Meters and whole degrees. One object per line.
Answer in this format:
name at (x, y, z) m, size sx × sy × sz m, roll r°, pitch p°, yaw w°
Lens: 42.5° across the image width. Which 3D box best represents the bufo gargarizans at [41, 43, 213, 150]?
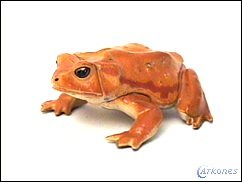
bufo gargarizans at (0.162, -0.058, 3.688) m, size 1.322 × 0.615 × 1.376 m, roll -14°, pitch 19°, yaw -36°
